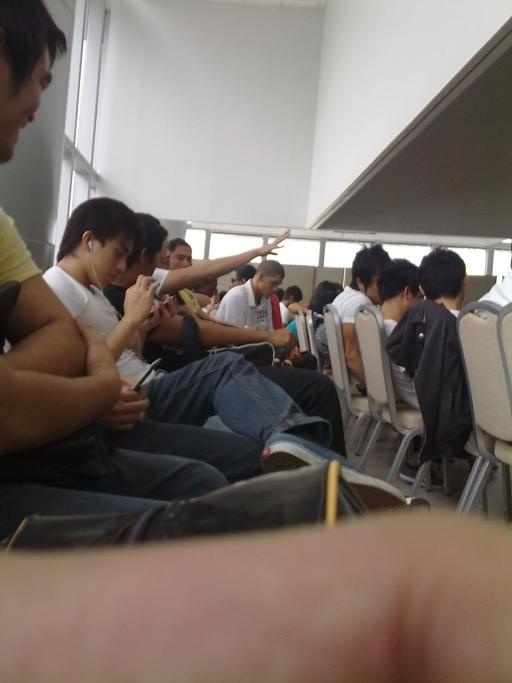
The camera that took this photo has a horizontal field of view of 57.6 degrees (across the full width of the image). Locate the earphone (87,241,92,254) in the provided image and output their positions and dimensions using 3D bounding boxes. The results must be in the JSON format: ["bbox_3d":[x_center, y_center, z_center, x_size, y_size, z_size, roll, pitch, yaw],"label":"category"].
[{"bbox_3d":[-0.469,-0.266,1.321,0.011,0.042,0.014,-3,-10,-8],"label":"earphone"}]

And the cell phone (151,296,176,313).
[{"bbox_3d":[-0.343,-0.137,1.742,0.112,0.060,0.078,3,13,7],"label":"cell phone"}]
